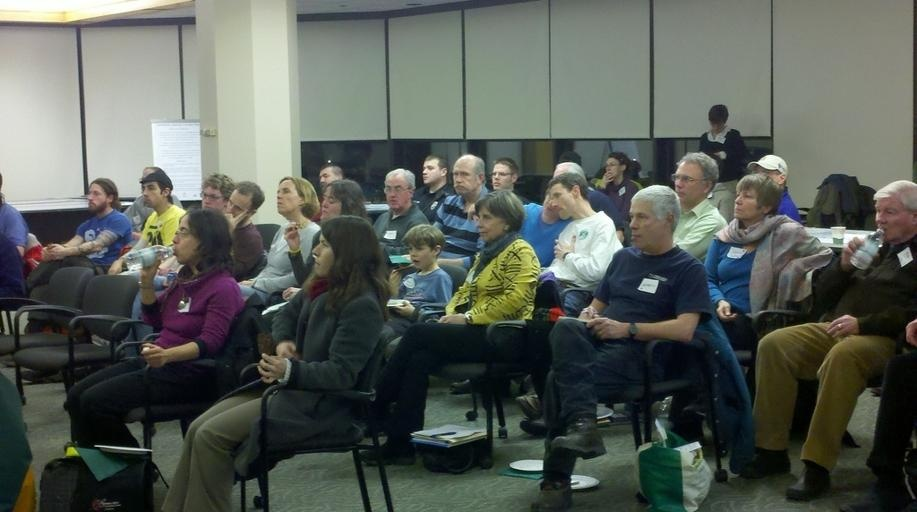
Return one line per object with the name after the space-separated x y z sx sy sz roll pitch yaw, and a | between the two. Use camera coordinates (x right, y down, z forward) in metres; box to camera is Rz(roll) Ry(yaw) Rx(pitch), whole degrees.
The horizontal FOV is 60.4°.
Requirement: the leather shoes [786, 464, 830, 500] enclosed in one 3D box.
2.412 1.534 5.410 0.320 0.242 0.100 -6 7 -19 | leather shoes

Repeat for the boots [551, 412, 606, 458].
0.831 1.240 5.406 0.358 0.233 0.240 2 -7 -18 | boots

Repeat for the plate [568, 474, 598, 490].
0.904 1.605 5.642 0.230 0.073 0.180 -4 6 -5 | plate

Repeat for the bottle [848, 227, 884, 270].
2.924 -0.039 5.639 0.185 0.293 0.368 1 8 35 | bottle

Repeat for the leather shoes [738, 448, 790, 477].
2.209 1.485 5.692 0.388 0.244 0.153 1 -2 -8 | leather shoes

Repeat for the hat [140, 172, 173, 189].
-3.134 -0.795 8.113 0.257 0.126 0.181 16 -9 -23 | hat
